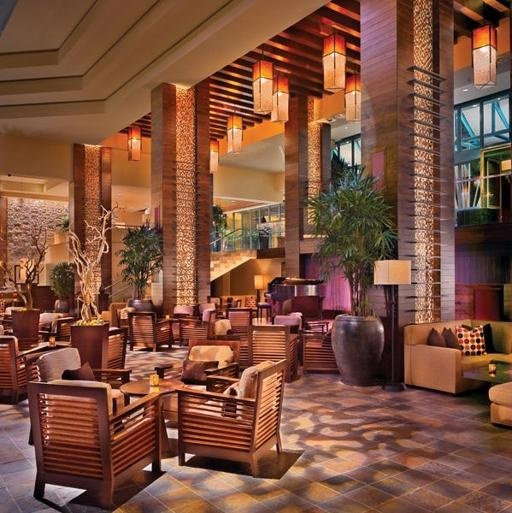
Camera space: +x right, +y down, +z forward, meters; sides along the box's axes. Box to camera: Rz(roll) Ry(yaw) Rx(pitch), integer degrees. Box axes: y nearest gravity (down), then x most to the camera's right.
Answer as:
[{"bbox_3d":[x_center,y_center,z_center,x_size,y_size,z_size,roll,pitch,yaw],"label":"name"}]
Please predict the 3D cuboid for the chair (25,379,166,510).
[{"bbox_3d":[-1.133,1.206,3.360,0.713,0.891,0.974,-2,-2,20],"label":"chair"}]

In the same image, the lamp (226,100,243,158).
[{"bbox_3d":[-0.564,-3.109,11.691,0.332,0.835,0.366,1,0,-9],"label":"lamp"}]

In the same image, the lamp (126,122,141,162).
[{"bbox_3d":[-3.566,-3.285,13.378,0.347,0.985,0.961,1,0,-16],"label":"lamp"}]

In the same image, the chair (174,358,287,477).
[{"bbox_3d":[-0.170,1.278,3.826,0.759,0.842,0.706,1,-2,31],"label":"chair"}]

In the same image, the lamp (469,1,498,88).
[{"bbox_3d":[3.738,-3.288,7.498,0.352,1.108,0.363,1,0,24],"label":"lamp"}]

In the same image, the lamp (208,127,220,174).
[{"bbox_3d":[-1.289,-3.061,13.853,0.237,0.971,0.600,1,0,-7],"label":"lamp"}]

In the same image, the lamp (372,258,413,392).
[{"bbox_3d":[1.823,0.922,6.176,0.473,1.254,0.824,1,0,17],"label":"lamp"}]

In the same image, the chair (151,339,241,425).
[{"bbox_3d":[-0.660,1.378,4.855,0.732,0.983,0.946,-2,-8,23],"label":"chair"}]

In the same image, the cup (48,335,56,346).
[{"bbox_3d":[-2.721,1.131,6.081,0.074,0.152,0.239,1,-1,-27],"label":"cup"}]
